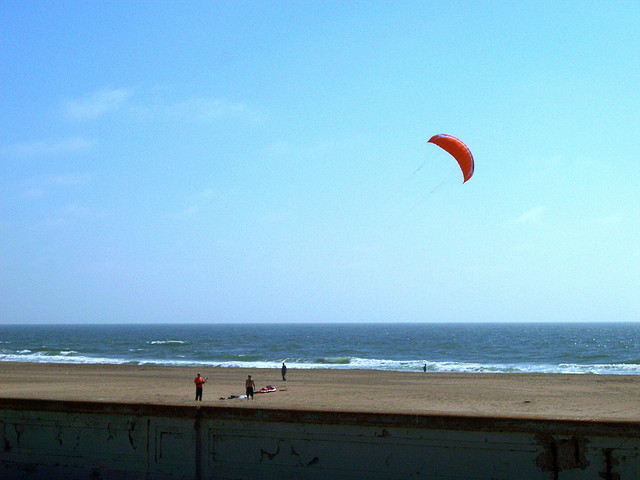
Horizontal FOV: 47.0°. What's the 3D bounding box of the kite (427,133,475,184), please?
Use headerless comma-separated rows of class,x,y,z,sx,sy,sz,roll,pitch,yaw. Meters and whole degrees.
kite,4.901,-3.020,26.635,0.348,1.981,1.607,5,-11,-30
